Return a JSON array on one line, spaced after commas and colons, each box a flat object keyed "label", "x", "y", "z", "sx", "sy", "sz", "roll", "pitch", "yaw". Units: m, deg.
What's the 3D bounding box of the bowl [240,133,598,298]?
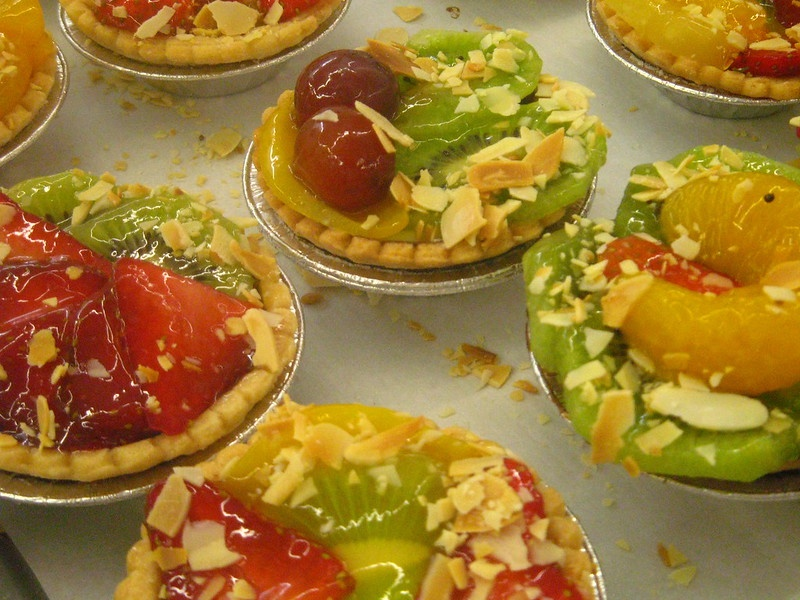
[{"label": "bowl", "x": -0.018, "y": -0.141, "z": 1.890, "sx": 0.488, "sy": 0.097, "sz": 0.453, "roll": 0, "pitch": 47, "yaw": 0}]
